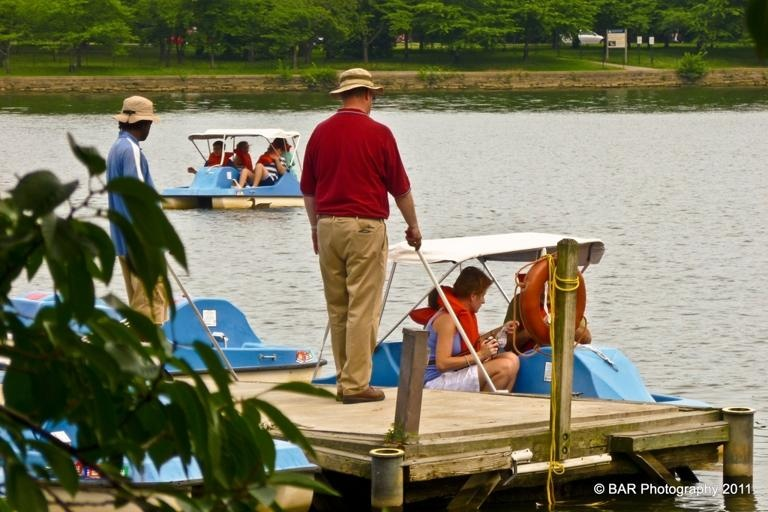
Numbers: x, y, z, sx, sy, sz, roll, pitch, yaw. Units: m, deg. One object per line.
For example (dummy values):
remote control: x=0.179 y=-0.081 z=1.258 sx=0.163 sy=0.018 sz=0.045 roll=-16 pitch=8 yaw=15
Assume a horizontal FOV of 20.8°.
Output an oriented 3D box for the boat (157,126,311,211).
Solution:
boat: x=-6.452 y=-4.236 z=103.667 sx=7.293 sy=3.141 sz=4.528 roll=0 pitch=1 yaw=-42
